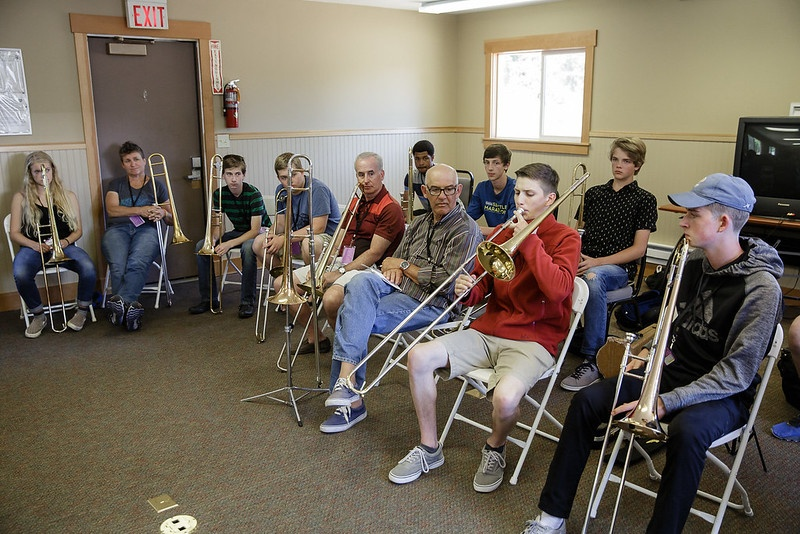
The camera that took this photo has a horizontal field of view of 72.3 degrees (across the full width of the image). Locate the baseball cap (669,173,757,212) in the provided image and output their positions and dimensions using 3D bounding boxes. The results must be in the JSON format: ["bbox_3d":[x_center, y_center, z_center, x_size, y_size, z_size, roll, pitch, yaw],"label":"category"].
[{"bbox_3d":[1.551,-0.323,2.731,0.324,0.170,0.216,8,6,10],"label":"baseball cap"}]

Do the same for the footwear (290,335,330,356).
[{"bbox_3d":[-0.727,0.631,4.403,0.340,0.146,0.127,-1,1,-12],"label":"footwear"}]

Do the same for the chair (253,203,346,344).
[{"bbox_3d":[-0.896,-0.131,4.725,0.604,1.542,0.756,4,-8,-14],"label":"chair"}]

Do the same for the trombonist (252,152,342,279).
[{"bbox_3d":[-0.894,-0.452,4.802,0.709,1.271,0.634,-2,-10,-2],"label":"trombonist"}]

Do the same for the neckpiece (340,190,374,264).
[{"bbox_3d":[-0.357,-0.305,4.171,0.178,0.628,0.180,4,-9,30],"label":"neckpiece"}]

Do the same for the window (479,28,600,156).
[{"bbox_3d":[1.852,-2.254,7.316,1.464,1.528,0.151,10,27,30],"label":"window"}]

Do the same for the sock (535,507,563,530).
[{"bbox_3d":[0.743,1.242,2.729,0.155,0.061,0.067,26,-17,-21],"label":"sock"}]

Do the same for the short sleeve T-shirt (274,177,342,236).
[{"bbox_3d":[-0.819,-0.550,4.945,0.489,0.585,0.574,-10,-4,37],"label":"short sleeve T-shirt"}]

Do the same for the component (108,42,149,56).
[{"bbox_3d":[-2.783,-2.212,5.588,0.376,0.122,0.067,-8,16,-25],"label":"component"}]

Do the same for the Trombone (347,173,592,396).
[{"bbox_3d":[0.412,0.165,3.464,2.169,0.330,0.374,-41,5,-19],"label":"Trombone"}]

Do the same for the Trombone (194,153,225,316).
[{"bbox_3d":[-1.949,-0.356,5.598,0.275,1.754,0.350,1,0,2],"label":"Trombone"}]

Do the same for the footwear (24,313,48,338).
[{"bbox_3d":[-3.218,0.519,4.832,0.099,0.107,0.275,2,22,-15],"label":"footwear"}]

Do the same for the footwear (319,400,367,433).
[{"bbox_3d":[-0.364,0.979,3.568,0.313,0.134,0.124,-17,21,-42],"label":"footwear"}]

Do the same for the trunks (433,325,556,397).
[{"bbox_3d":[0.537,0.512,3.079,0.417,0.139,0.408,12,21,40],"label":"trunks"}]

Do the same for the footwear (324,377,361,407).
[{"bbox_3d":[-0.351,0.795,3.473,0.129,0.170,0.339,-4,-8,22],"label":"footwear"}]

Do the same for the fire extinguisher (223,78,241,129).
[{"bbox_3d":[-1.863,-1.806,6.126,0.230,0.517,0.150,-10,17,-31],"label":"fire extinguisher"}]

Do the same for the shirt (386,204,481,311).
[{"bbox_3d":[0.216,-0.039,3.577,0.324,0.524,0.535,23,5,-37],"label":"shirt"}]

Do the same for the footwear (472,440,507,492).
[{"bbox_3d":[0.509,1.117,3.092,0.129,0.233,0.226,8,17,32],"label":"footwear"}]

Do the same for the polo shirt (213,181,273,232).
[{"bbox_3d":[-1.582,-0.624,5.508,0.546,0.465,0.284,9,34,21],"label":"polo shirt"}]

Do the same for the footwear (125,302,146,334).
[{"bbox_3d":[-2.382,0.446,4.938,0.117,0.336,0.145,9,16,-22],"label":"footwear"}]

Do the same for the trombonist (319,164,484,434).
[{"bbox_3d":[-0.027,0.126,3.643,0.978,1.632,0.634,-3,19,-29],"label":"trombonist"}]

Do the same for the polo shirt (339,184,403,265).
[{"bbox_3d":[-0.221,-0.295,4.134,0.362,0.644,0.670,10,5,-31],"label":"polo shirt"}]

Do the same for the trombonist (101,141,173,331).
[{"bbox_3d":[-2.565,-0.275,5.435,0.640,1.908,0.730,5,-23,-32],"label":"trombonist"}]

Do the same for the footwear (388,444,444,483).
[{"bbox_3d":[0.090,1.124,3.218,0.349,0.153,0.141,-19,25,-23],"label":"footwear"}]

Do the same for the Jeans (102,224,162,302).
[{"bbox_3d":[-2.570,-0.095,5.216,0.373,0.265,0.898,10,48,-27],"label":"Jeans"}]

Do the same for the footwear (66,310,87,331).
[{"bbox_3d":[-2.915,0.489,4.971,0.098,0.103,0.250,24,12,-18],"label":"footwear"}]

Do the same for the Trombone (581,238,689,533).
[{"bbox_3d":[1.294,0.677,3.062,0.253,1.584,0.294,23,-17,-27],"label":"Trombone"}]
